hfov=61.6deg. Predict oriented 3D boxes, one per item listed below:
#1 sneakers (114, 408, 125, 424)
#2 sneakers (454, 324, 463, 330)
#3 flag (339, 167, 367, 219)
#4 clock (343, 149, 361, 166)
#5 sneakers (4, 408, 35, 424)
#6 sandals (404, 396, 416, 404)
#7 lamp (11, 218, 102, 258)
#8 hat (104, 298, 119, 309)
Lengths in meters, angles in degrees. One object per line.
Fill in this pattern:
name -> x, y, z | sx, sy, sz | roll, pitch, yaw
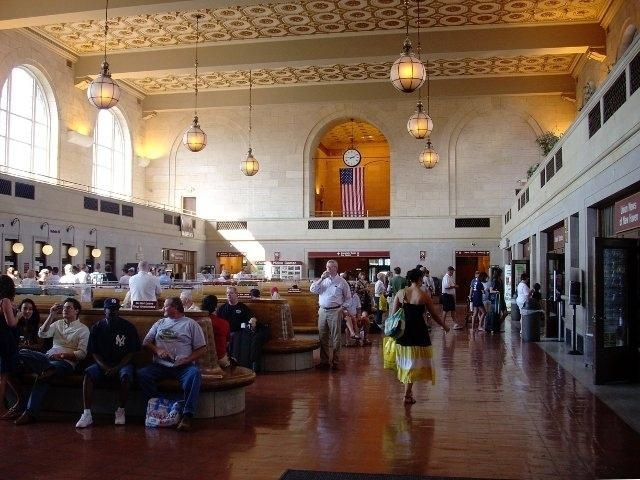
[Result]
sneakers -> -2.518, 2.220, 6.785 | 0.134, 0.206, 0.229 | 0, 2, -21
sneakers -> 4.282, 2.705, 16.795 | 0.155, 0.175, 0.381 | -1, -1, 26
flag -> 1.662, -2.657, 28.096 | 1.165, 2.289, 0.661 | 1, 2, 12
clock -> 1.817, -4.783, 30.925 | 0.862, 1.074, 0.928 | 1, 2, -4
sneakers -> -3.878, 2.250, 6.913 | 0.495, 0.166, 0.233 | 3, 3, 40
sandals -> 1.294, 2.327, 7.781 | 0.125, 0.056, 0.098 | 5, -11, -7
lamp -> -9.935, 0.018, 20.282 | 0.566, 1.693, 4.484 | 1, 2, 14
hat -> -2.739, 0.840, 7.086 | 0.168, 0.129, 0.286 | 0, 3, -27
